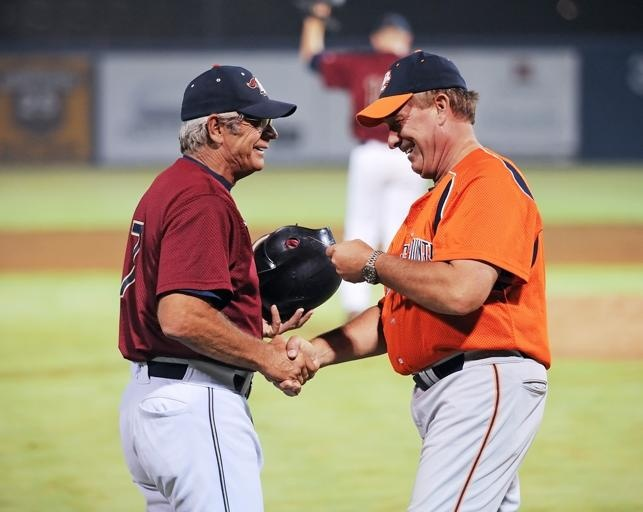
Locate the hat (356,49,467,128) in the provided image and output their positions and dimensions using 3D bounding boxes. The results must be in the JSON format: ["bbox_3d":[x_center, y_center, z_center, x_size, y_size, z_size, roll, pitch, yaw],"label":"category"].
[{"bbox_3d":[0.692,-1.288,10.878,0.772,0.446,0.494,-5,0,-4],"label":"hat"}]
